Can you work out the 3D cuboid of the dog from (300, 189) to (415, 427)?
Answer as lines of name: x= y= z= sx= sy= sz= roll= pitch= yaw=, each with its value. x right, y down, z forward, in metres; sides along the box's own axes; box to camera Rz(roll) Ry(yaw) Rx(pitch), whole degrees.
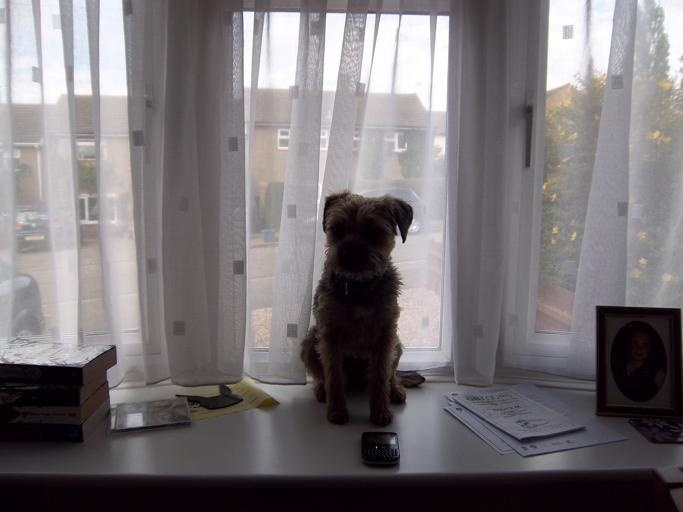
dog: x=0.064 y=0.201 z=2.315 sx=0.439 sy=0.848 sz=0.853 roll=2 pitch=-1 yaw=-3

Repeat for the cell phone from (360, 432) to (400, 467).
cell phone: x=0.130 y=0.630 z=1.886 sx=0.126 sy=0.057 sz=0.140 roll=-1 pitch=10 yaw=4
